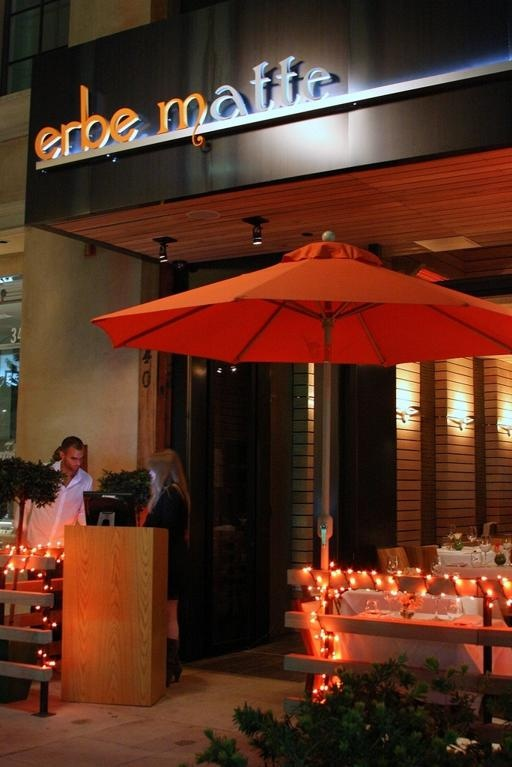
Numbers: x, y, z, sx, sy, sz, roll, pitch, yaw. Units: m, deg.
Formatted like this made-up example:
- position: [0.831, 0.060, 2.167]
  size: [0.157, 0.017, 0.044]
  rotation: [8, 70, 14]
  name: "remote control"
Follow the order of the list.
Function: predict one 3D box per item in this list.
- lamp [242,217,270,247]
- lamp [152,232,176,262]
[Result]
- position: [0.004, -1.132, 5.198]
  size: [0.174, 0.167, 0.172]
  rotation: [0, 2, 10]
  name: "lamp"
- position: [-0.739, -1.116, 5.739]
  size: [0.189, 0.180, 0.188]
  rotation: [-1, -2, 5]
  name: "lamp"
